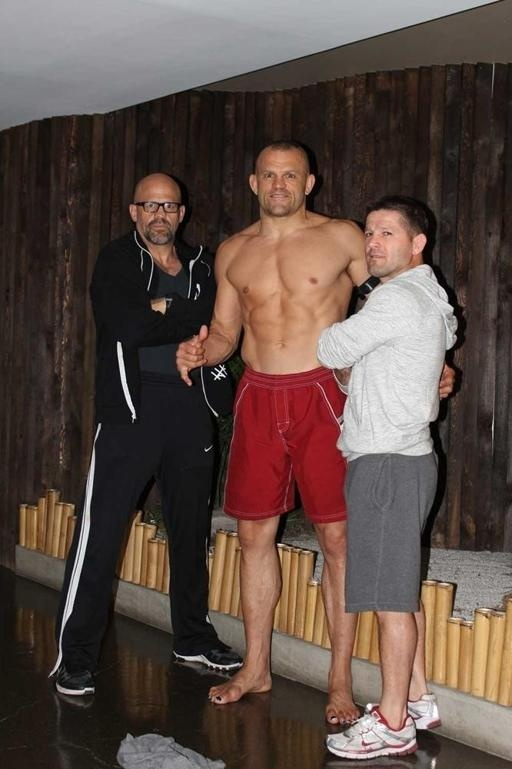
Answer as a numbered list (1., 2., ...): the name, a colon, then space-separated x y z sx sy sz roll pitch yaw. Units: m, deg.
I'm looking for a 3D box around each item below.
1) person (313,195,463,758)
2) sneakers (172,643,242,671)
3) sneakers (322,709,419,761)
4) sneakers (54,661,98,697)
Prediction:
1. person: 0.324 0.217 1.596 0.359 1.353 0.301 2 -4 -7
2. sneakers: -0.155 0.875 2.192 0.236 0.098 0.081 -2 0 28
3. sneakers: 0.259 0.815 1.577 0.262 0.129 0.098 -1 0 1
4. sneakers: -0.533 0.861 1.941 0.115 0.063 0.152 3 -4 -15
